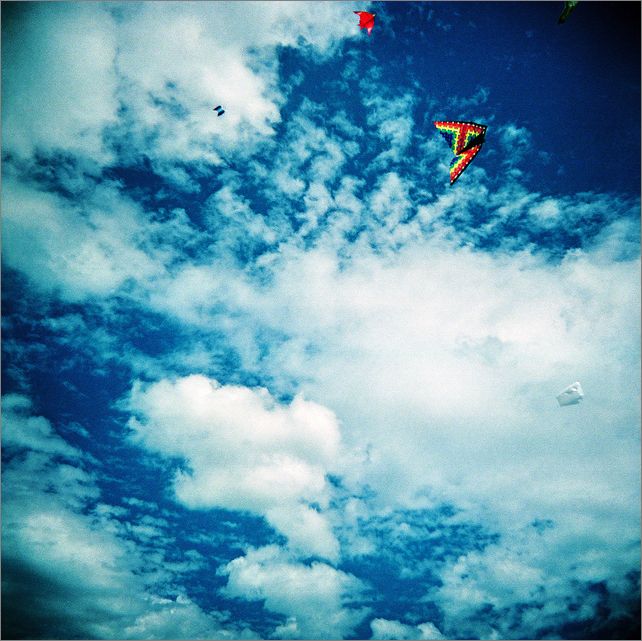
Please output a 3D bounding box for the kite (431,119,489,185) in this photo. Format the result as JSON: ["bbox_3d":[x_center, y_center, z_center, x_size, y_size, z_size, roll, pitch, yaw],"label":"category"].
[{"bbox_3d":[11.031,-13.460,64.033,3.097,2.607,3.856,0,-57,0],"label":"kite"}]
